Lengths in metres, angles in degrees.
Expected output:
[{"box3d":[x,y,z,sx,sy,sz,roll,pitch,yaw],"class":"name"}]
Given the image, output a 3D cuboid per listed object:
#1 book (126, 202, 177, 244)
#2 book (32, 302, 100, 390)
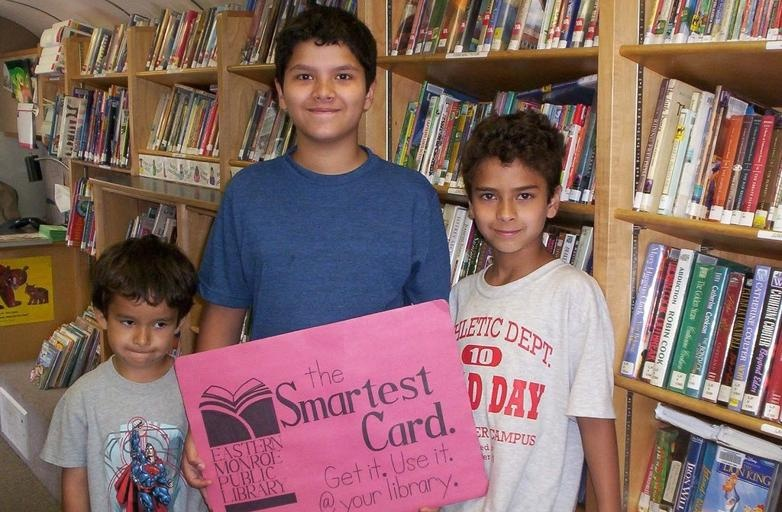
[{"box3d":[-1.369,-0.191,3.192,0.291,0.284,0.069,-16,-17,21],"class":"book"},{"box3d":[-2.210,0.614,3.770,0.184,0.589,0.446,34,-10,-38],"class":"book"}]
